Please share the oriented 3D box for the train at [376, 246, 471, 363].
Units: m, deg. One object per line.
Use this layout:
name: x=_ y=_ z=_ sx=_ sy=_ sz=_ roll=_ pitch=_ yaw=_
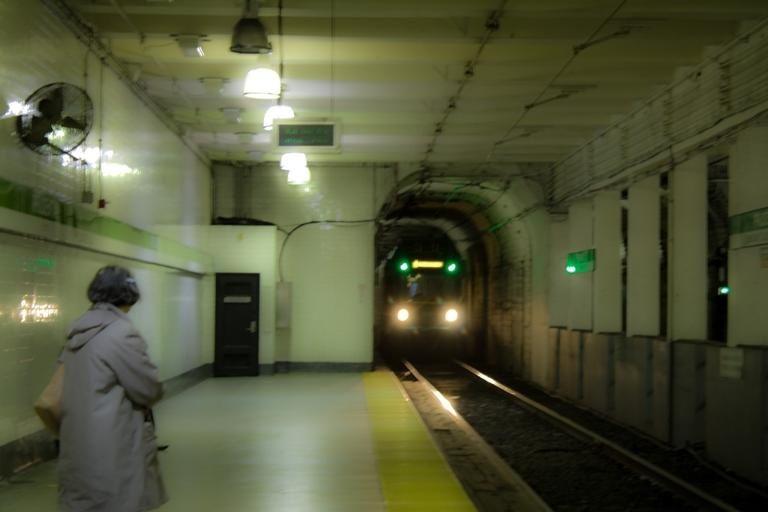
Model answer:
train: x=1.329 y=1.620 z=20.779 sx=2.741 sy=3.518 sz=1.010 roll=3 pitch=0 yaw=-3
